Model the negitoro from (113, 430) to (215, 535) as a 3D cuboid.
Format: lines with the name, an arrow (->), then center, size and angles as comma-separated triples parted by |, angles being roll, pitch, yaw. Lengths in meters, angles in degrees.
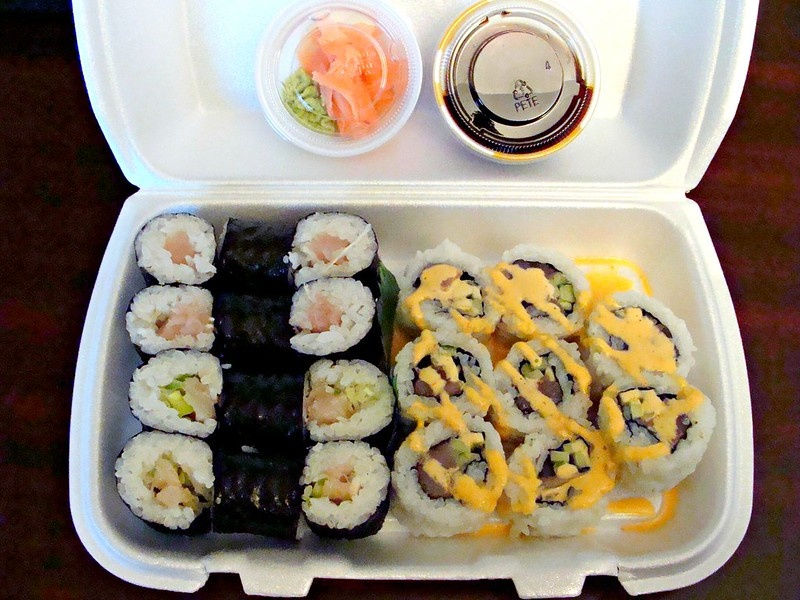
negitoro -> -0.895, 0.682, 3.034 | 0.368, 0.181, 0.334 | 13, 65, 9

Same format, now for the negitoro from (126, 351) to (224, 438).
negitoro -> -0.858, 0.353, 3.067 | 0.342, 0.151, 0.305 | 7, 64, 6

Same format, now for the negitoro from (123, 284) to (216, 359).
negitoro -> -0.890, 0.055, 3.155 | 0.347, 0.328, 0.118 | 23, 24, -28
